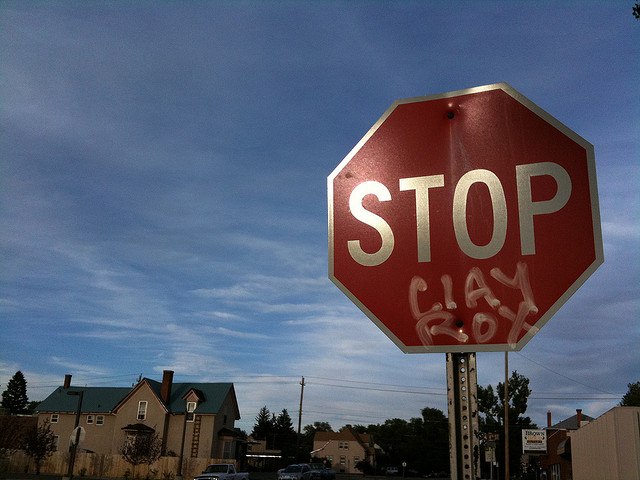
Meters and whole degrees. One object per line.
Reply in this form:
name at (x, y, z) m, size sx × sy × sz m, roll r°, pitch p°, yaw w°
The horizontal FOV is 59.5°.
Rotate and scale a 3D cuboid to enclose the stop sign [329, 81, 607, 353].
stop sign at (0.883, -0.072, 3.245) m, size 1.446 × 1.444 × 0.157 m, roll -4°, pitch -11°, yaw 5°
